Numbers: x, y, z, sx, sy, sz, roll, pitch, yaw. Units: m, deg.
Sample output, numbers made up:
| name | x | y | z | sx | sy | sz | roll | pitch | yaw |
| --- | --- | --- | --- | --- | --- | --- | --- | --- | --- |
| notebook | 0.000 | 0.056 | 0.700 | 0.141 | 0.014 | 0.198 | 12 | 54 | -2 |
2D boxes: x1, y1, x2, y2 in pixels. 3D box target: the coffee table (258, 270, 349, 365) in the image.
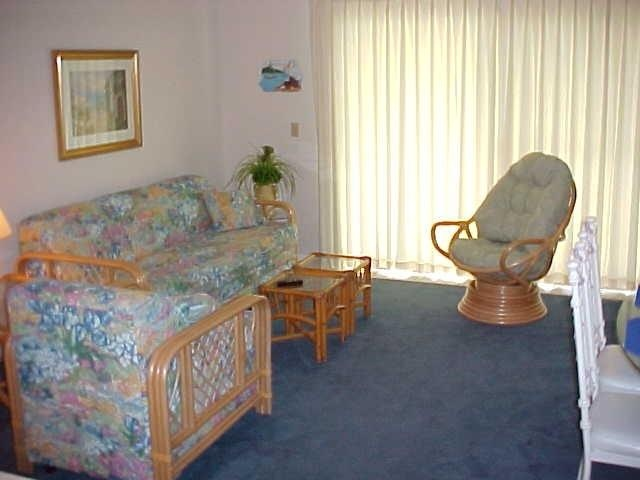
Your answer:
| name | x | y | z | sx | sy | sz | roll | pitch | yaw |
| --- | --- | --- | --- | --- | --- | --- | --- | --- | --- |
| coffee table | -0.098 | 0.499 | 4.081 | 0.580 | 0.641 | 0.615 | 2 | 8 | 26 |

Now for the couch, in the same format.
| name | x | y | z | sx | sy | sz | roll | pitch | yaw |
| --- | --- | --- | --- | --- | --- | --- | --- | --- | --- |
| couch | -1.118 | -0.027 | 4.162 | 0.902 | 0.835 | 1.857 | 3 | 15 | 24 |

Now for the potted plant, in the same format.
| name | x | y | z | sx | sy | sz | roll | pitch | yaw |
| --- | --- | --- | --- | --- | --- | --- | --- | --- | --- |
| potted plant | -0.606 | -0.717 | 5.474 | 0.615 | 0.586 | 0.623 | 3 | 12 | 4 |

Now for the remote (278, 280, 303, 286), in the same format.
| name | x | y | z | sx | sy | sz | roll | pitch | yaw |
| --- | --- | --- | --- | --- | --- | --- | --- | --- | --- |
| remote | -0.220 | 0.321 | 3.930 | 0.187 | 0.028 | 0.121 | -5 | 17 | -4 |

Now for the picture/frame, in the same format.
| name | x | y | z | sx | sy | sz | roll | pitch | yaw |
| --- | --- | --- | --- | --- | --- | --- | --- | --- | --- |
| picture/frame | -1.794 | -1.087 | 4.222 | 0.064 | 0.809 | 0.899 | 5 | 14 | 22 |

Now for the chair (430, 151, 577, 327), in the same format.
| name | x | y | z | sx | sy | sz | roll | pitch | yaw |
| --- | --- | --- | --- | --- | --- | --- | --- | --- | --- |
| chair | 1.569 | -0.038 | 4.469 | 0.890 | 1.264 | 0.888 | -13 | 19 | -30 |
